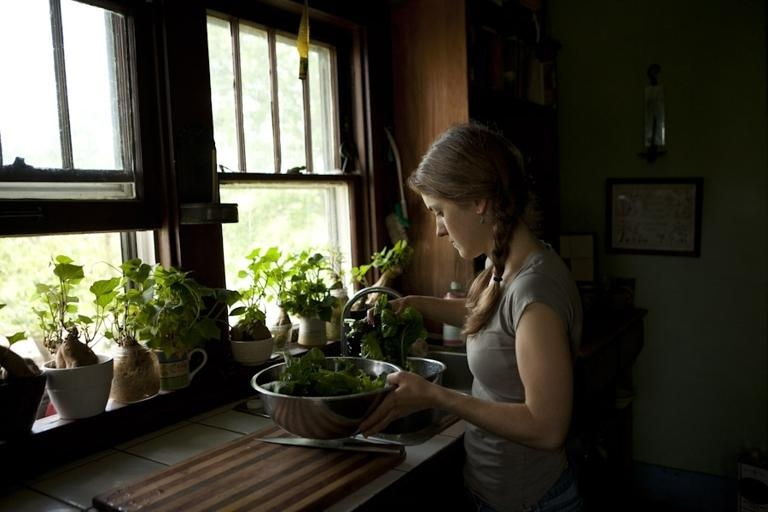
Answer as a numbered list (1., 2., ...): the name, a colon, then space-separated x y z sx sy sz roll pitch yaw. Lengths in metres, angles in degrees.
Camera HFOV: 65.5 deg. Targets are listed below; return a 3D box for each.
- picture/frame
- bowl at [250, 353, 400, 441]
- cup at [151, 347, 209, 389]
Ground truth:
1. picture/frame: 1.649 -0.244 3.664 0.531 0.492 0.024 2 -5 14
2. bowl: -0.212 0.514 2.102 0.512 0.184 0.509 0 5 0
3. cup: -0.795 0.447 2.358 0.197 0.139 0.123 -5 -3 -12
